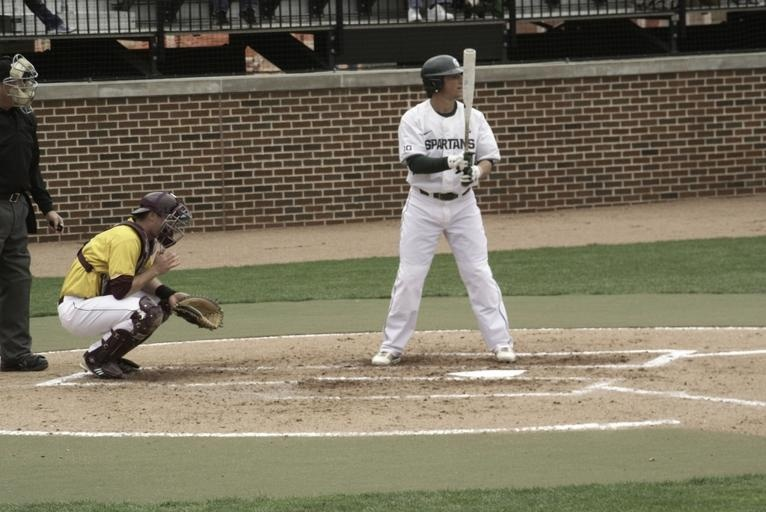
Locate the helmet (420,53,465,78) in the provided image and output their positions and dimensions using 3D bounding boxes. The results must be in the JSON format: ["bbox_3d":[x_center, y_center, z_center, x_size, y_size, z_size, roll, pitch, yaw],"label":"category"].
[{"bbox_3d":[0.747,-2.438,24.696,0.437,0.161,0.303,-9,7,5],"label":"helmet"}]

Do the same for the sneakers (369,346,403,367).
[{"bbox_3d":[0.045,1.354,24.921,0.445,0.164,0.193,2,-5,-11],"label":"sneakers"}]

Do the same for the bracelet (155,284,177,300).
[{"bbox_3d":[-2.792,0.507,24.607,0.195,0.175,0.220,-2,-15,-27],"label":"bracelet"}]

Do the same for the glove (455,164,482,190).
[{"bbox_3d":[1.087,-1.032,24.591,0.316,0.290,0.135,-7,45,-18],"label":"glove"}]

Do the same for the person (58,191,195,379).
[{"bbox_3d":[-3.319,0.408,24.386,1.602,2.375,0.544,-1,11,-6],"label":"person"}]
